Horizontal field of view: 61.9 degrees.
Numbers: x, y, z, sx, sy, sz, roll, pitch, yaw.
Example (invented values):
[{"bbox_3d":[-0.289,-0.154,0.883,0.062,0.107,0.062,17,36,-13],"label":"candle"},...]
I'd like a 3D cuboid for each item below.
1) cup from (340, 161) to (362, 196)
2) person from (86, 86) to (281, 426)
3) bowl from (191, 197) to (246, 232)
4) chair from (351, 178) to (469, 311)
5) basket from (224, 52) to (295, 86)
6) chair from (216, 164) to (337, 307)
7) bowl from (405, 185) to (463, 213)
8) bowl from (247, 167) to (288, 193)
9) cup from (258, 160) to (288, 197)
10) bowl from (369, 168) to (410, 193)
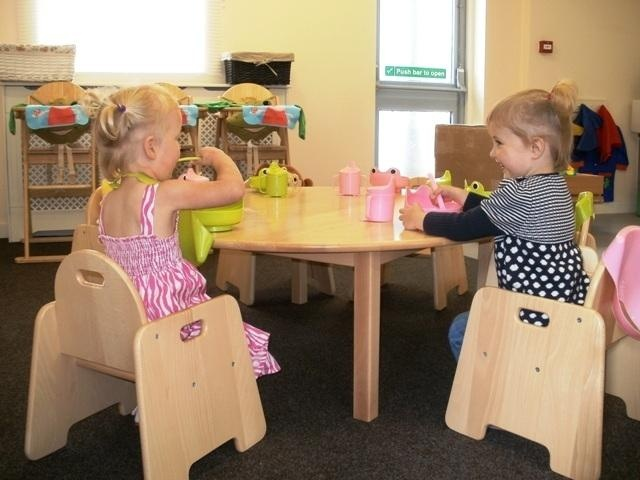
[{"bbox_3d":[0.127,-0.245,2.234,0.106,0.119,0.074,-1,-8,9],"label":"cup"},{"bbox_3d":[-0.424,-0.015,1.645,0.448,0.829,0.531,0,0,45],"label":"person"},{"bbox_3d":[-0.301,-0.071,1.631,0.160,0.077,0.161,-3,10,1],"label":"bowl"},{"bbox_3d":[0.422,-0.013,2.559,0.596,0.696,0.628,5,12,33],"label":"chair"},{"bbox_3d":[-0.467,-1.276,4.102,0.369,0.191,0.313,-2,15,-14],"label":"basket"},{"bbox_3d":[-0.221,-0.017,2.785,0.732,0.735,0.546,11,16,38],"label":"chair"},{"bbox_3d":[0.359,-0.119,1.704,0.154,0.064,0.084,8,3,7],"label":"bowl"},{"bbox_3d":[-0.216,-0.259,2.290,0.164,0.152,0.104,1,15,3],"label":"bowl"},{"bbox_3d":[-0.190,-0.260,2.240,0.094,0.129,0.120,4,30,5],"label":"cup"},{"bbox_3d":[0.293,-0.252,2.209,0.116,0.082,0.155,5,6,37],"label":"bowl"}]
